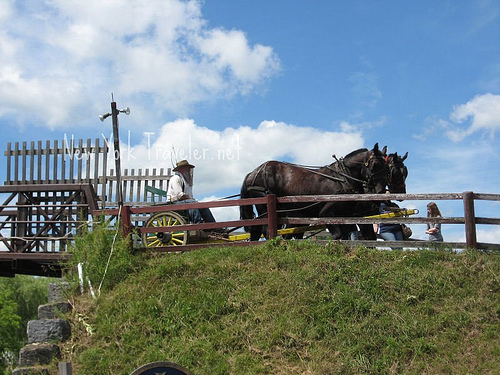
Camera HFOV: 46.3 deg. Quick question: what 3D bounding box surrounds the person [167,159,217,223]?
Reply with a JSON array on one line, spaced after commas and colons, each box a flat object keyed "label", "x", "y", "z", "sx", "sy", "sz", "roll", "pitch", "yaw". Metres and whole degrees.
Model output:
[{"label": "person", "x": -1.757, "y": 0.135, "z": 16.164, "sx": 0.981, "sy": 1.362, "sz": 1.124, "roll": -5, "pitch": -3, "yaw": -24}]

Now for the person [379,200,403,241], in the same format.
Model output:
[{"label": "person", "x": 3.725, "y": 0.901, "z": 15.582, "sx": 0.579, "sy": 1.021, "sz": 1.188, "roll": -7, "pitch": -2, "yaw": 12}]

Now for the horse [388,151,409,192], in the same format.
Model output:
[{"label": "horse", "x": 3.946, "y": -0.383, "z": 15.683, "sx": 0.585, "sy": 0.979, "sz": 0.209, "roll": -5, "pitch": -2, "yaw": -20}]

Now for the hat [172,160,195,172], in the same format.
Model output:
[{"label": "hat", "x": -1.896, "y": -0.606, "z": 16.439, "sx": 0.547, "sy": 0.233, "sz": 0.658, "roll": -6, "pitch": -2, "yaw": -5}]

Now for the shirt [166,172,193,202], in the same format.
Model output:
[{"label": "shirt", "x": -1.873, "y": 0.024, "z": 15.679, "sx": 0.489, "sy": 0.650, "sz": 0.778, "roll": -1, "pitch": -5, "yaw": 6}]
